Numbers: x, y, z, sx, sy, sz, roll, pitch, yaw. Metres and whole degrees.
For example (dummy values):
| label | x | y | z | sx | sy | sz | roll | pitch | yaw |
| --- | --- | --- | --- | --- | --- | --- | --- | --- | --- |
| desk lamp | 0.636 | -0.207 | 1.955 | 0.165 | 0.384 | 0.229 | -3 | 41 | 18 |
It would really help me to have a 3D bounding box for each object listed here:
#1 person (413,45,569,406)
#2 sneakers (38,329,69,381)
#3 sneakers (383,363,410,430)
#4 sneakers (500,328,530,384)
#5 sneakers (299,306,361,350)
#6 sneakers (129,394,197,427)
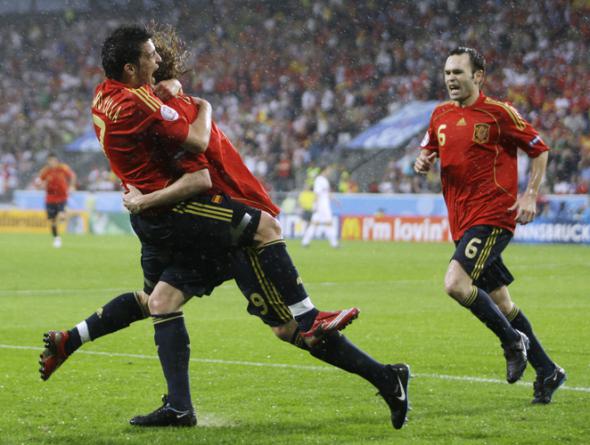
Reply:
| label | x | y | z | sx | sy | sz | roll | pitch | yaw |
| --- | --- | --- | --- | --- | --- | --- | --- | --- | --- |
| person | 1.574 | -0.042 | 7.153 | 1.341 | 2.706 | 0.901 | 4 | 10 | 21 |
| sneakers | -1.819 | 0.964 | 6.644 | 0.193 | 0.431 | 0.160 | 3 | 32 | -44 |
| sneakers | 0.746 | 1.232 | 6.403 | 0.201 | 0.470 | 0.163 | 0 | -7 | -18 |
| sneakers | 1.692 | 1.043 | 6.976 | 0.248 | 0.415 | 0.165 | 10 | -12 | -18 |
| sneakers | 0.252 | 0.729 | 6.419 | 0.190 | 0.217 | 0.508 | 15 | -39 | -43 |
| sneakers | -0.947 | 1.394 | 6.552 | 0.589 | 0.235 | 0.175 | 3 | -10 | 3 |
